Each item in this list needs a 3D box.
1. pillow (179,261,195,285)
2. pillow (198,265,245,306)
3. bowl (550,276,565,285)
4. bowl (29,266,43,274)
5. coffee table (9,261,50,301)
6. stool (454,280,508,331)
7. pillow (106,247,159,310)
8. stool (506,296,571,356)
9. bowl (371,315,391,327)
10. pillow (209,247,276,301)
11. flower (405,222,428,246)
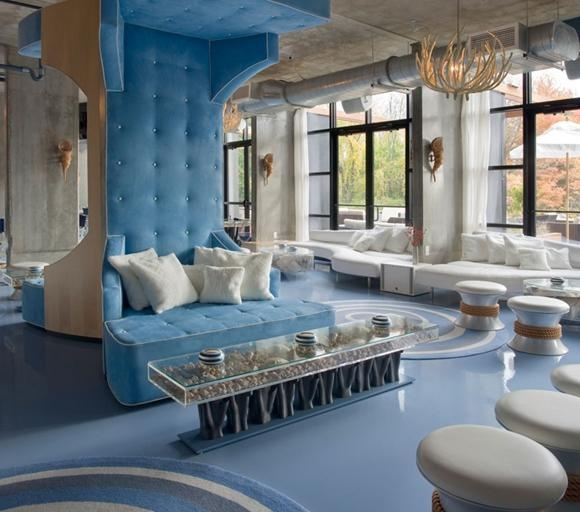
[{"bbox_3d":[-0.911,0.160,4.129,0.126,0.132,0.145,4,5,44],"label":"pillow"},{"bbox_3d":[-0.582,0.267,3.975,0.325,0.271,0.119,2,-16,4],"label":"pillow"},{"bbox_3d":[2.823,0.259,4.851,0.100,0.057,0.100,-1,1,0],"label":"bowl"},{"bbox_3d":[-3.015,0.173,5.496,0.114,0.071,0.111,2,-1,0],"label":"bowl"},{"bbox_3d":[-3.139,0.310,5.522,0.365,0.257,0.543,3,2,-16],"label":"coffee table"},{"bbox_3d":[2.005,0.501,4.912,0.534,0.434,0.509,2,6,32],"label":"stool"},{"bbox_3d":[-1.223,0.189,3.739,0.135,0.407,0.458,-19,-3,25],"label":"pillow"},{"bbox_3d":[2.259,0.622,4.245,0.527,0.428,0.507,0,4,22],"label":"stool"},{"bbox_3d":[0.674,0.461,3.290,0.091,0.042,0.088,0,3,0],"label":"bowl"},{"bbox_3d":[-0.435,0.180,4.092,0.477,0.403,0.168,2,-27,3],"label":"pillow"},{"bbox_3d":[1.911,-0.321,6.883,0.354,0.301,0.312,-5,7,-34],"label":"flower"}]
